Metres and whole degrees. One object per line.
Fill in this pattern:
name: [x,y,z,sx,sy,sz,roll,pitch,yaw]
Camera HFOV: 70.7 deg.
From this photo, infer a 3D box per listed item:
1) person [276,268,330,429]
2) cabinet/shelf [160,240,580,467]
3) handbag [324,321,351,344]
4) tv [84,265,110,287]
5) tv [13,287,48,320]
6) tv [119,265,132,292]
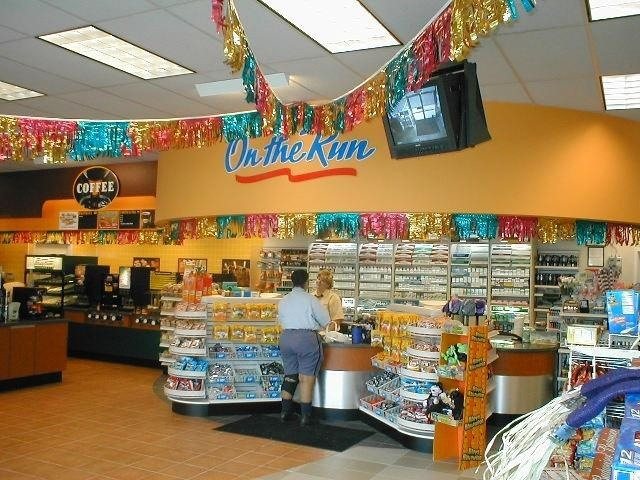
person: [-0.245,1.369,5.872,0.699,1.944,0.332,0,-6,13]
cabinet/shelf: [1.163,1.203,7.520,4.844,2.643,5.202,-1,-6,27]
handbag: [0.219,1.303,6.301,0.356,0.311,0.250,-7,-9,26]
tv: [-5.095,0.822,10.271,0.892,0.438,0.297,-3,-7,40]
tv: [-5.070,1.107,8.103,0.725,0.660,0.425,-1,-2,3]
tv: [-4.350,0.854,9.961,0.259,0.481,0.595,4,-6,-24]
